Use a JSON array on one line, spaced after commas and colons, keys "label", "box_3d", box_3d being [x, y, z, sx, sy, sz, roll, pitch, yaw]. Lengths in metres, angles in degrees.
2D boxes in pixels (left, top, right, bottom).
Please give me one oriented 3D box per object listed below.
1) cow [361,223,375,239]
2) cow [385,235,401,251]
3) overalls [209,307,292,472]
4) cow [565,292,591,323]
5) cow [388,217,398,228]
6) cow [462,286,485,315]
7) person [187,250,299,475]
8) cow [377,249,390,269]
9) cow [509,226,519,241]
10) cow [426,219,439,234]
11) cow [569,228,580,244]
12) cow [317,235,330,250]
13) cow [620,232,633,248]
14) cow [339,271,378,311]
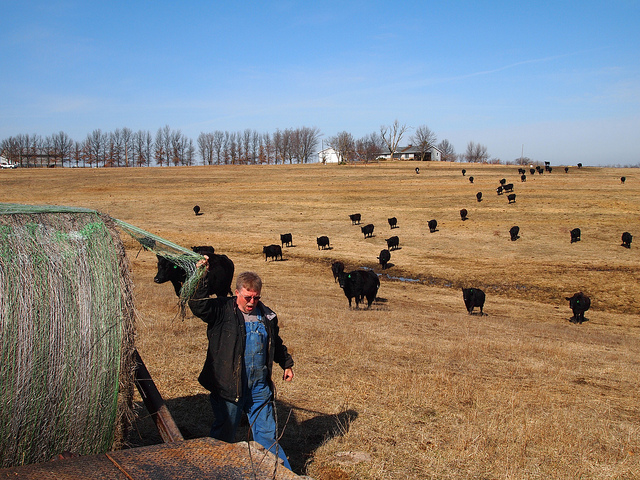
[{"label": "cow", "box_3d": [3.059, -0.588, 36.148, 0.618, 0.910, 1.476, 5, 4, 7]}, {"label": "cow", "box_3d": [4.217, 0.165, 32.369, 0.563, 0.770, 1.349, 6, 4, 25]}, {"label": "overalls", "box_3d": [-0.949, 1.826, 7.301, 0.871, 1.714, 0.503, 4, 4, -6]}, {"label": "cow", "box_3d": [9.234, 2.406, 20.089, 0.546, 0.940, 1.722, -2, -4, 44]}, {"label": "cow", "box_3d": [5.144, -1.242, 39.608, 0.615, 0.656, 1.373, 5, 4, 8]}, {"label": "cow", "box_3d": [5.359, 2.085, 19.654, 0.659, 0.836, 1.111, 7, 4, 28]}, {"label": "person", "box_3d": [-1.032, 1.463, 7.379, 1.293, 2.230, 0.624, 4, 4, -5]}, {"label": "cow", "box_3d": [3.156, 0.937, 27.723, 0.488, 0.842, 0.887, 5, 4, 7]}, {"label": "cow", "box_3d": [11.818, -0.416, 34.496, 0.451, 0.833, 1.273, 6, 4, 17]}, {"label": "cow", "box_3d": [7.538, -0.916, 37.661, 0.621, 0.875, 2.279, 5, 4, 11]}, {"label": "cow", "box_3d": [15.158, -0.306, 33.591, 0.488, 0.575, 0.952, 6, 4, 24]}, {"label": "cow", "box_3d": [0.182, 0.124, 31.950, 0.618, 0.733, 0.922, 5, 4, 0]}, {"label": "cow", "box_3d": [17.072, -0.045, 31.765, 0.559, 0.932, 0.932, 0, -2, 1]}, {"label": "cow", "box_3d": [1.341, 1.616, 18.981, 0.691, 1.329, 2.401, 5, -1, 34]}]
